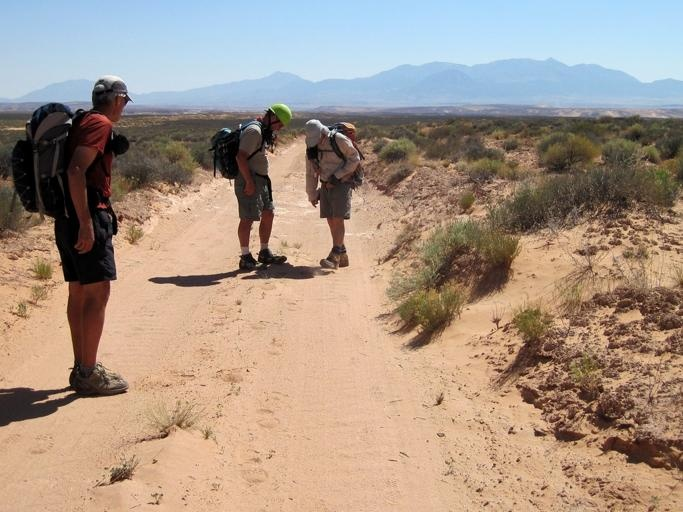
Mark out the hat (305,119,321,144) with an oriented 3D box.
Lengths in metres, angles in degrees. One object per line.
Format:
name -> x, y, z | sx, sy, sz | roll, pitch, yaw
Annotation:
hat -> -0.429, -1.991, 9.500 | 0.272, 0.442, 0.476 | 0, 18, -3

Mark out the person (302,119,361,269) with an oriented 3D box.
person -> -0.130, -1.049, 9.841 | 0.928, 2.417, 0.816 | 2, 17, 4

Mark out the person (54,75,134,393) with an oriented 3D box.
person -> -2.350, -0.191, 5.651 | 0.654, 2.940, 0.826 | 1, 17, 0
